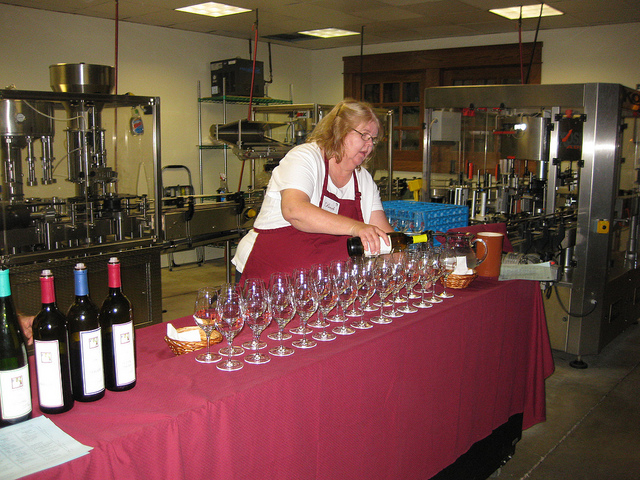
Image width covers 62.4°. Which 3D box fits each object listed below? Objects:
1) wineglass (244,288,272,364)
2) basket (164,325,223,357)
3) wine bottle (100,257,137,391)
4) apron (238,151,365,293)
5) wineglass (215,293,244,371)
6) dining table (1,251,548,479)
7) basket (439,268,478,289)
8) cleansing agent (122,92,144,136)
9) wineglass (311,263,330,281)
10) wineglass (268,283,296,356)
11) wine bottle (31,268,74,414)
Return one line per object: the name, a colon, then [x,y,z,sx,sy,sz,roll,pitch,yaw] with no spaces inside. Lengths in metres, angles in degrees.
wineglass: [-0.197,0.259,1.680,0.091,0.216,0.175,-2,14,-5]
basket: [-0.423,0.346,1.777,0.129,0.043,0.121,5,5,-7]
wine bottle: [-0.560,0.226,1.472,0.088,0.382,0.135,-2,15,-7]
apron: [0.031,-0.061,2.558,0.439,0.658,0.519,8,22,10]
wineglass: [-0.274,0.275,1.612,0.088,0.222,0.115,-3,14,-9]
dining table: [0.005,0.430,1.936,1.068,0.453,1.832,1,1,39]
basket: [0.619,0.178,2.330,0.106,0.041,0.100,-1,9,-12]
cleansing agent: [-1.388,-0.959,4.078,0.150,0.298,0.137,-19,3,-26]
wineglass: [-0.001,0.112,1.842,0.058,0.049,0.054,0,-4,-2]
wineglass: [-0.124,0.249,1.713,0.091,0.214,0.143,-1,14,-1]
wine bottle: [-0.694,0.260,1.358,0.098,0.378,0.105,0,15,0]
